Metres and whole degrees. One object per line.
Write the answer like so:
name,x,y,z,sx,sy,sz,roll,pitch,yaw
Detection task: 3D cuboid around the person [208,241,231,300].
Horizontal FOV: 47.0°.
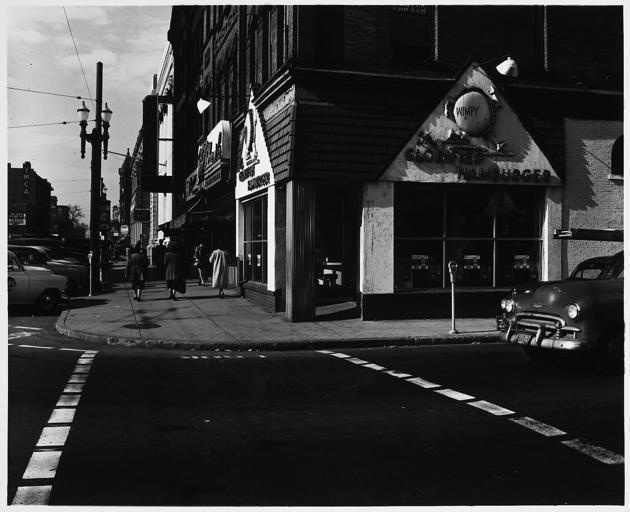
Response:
person,-3.035,0.498,23.208,0.578,1.626,1.376,0,6,-7

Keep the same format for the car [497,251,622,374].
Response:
car,4.050,0.835,11.308,2.256,1.170,1.400,3,-6,-14

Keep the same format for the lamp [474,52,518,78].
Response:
lamp,4.719,-4.874,18.489,0.982,0.656,1.824,3,7,17

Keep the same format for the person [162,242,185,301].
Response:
person,-4.329,0.612,22.381,0.565,1.538,1.652,0,6,-11

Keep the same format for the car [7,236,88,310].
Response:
car,-8.154,0.813,22.030,2.968,1.586,1.934,0,7,-13

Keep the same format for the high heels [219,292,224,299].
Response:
high heels,-2.938,1.240,22.872,0.164,0.355,0.184,1,-5,-3

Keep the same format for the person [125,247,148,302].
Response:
person,-5.543,0.566,22.514,0.581,1.701,2.514,-1,7,-14
